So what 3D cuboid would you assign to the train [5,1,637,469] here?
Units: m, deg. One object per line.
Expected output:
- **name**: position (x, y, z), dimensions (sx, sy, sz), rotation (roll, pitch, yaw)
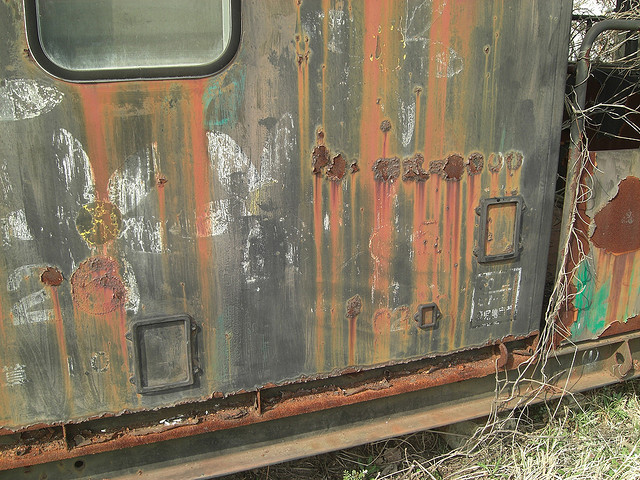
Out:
- **train**: position (-0.142, -0.236, 3.804), dimensions (3.254, 2.479, 2.298), rotation (-3, 21, -10)
